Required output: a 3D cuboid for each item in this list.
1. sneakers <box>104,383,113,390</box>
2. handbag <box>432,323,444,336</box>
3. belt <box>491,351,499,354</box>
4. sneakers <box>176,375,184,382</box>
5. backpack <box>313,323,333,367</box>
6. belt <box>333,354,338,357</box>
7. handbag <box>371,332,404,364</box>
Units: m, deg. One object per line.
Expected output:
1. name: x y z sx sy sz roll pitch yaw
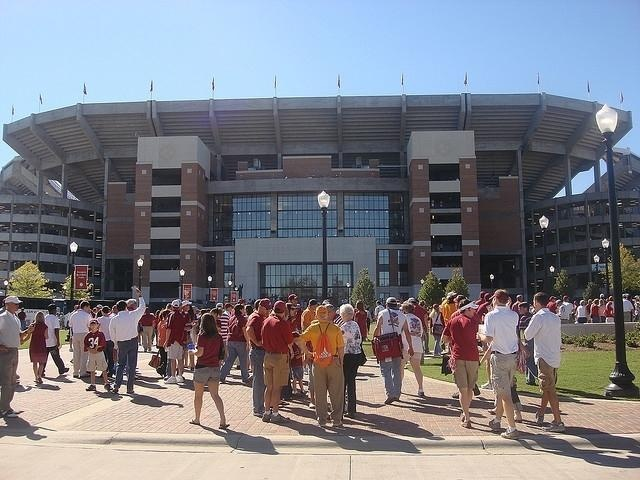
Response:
1. sneakers: -5.787 4.045 16.254 0.201 0.173 0.163 -1 -6 30
2. handbag: 4.445 3.416 22.454 0.447 0.470 0.658 2 -6 6
3. belt: 3.576 2.310 12.049 0.186 0.069 0.056 -4 -8 32
4. sneakers: -4.201 4.191 17.768 0.214 0.225 0.165 1 -15 -12
5. backpack: 0.104 2.381 12.754 0.362 0.875 0.367 -3 -1 -4
6. belt: 0.335 2.535 12.856 0.134 0.067 0.088 2 -7 -13
7. handbag: 1.582 2.559 14.373 0.816 0.848 0.591 -6 -37 4
